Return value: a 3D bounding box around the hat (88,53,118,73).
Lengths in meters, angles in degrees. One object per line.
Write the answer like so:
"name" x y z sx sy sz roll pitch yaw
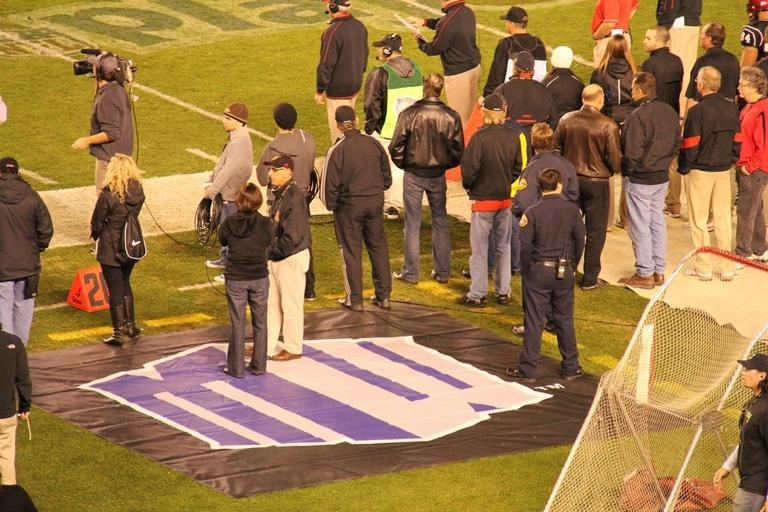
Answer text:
"hat" -3.891 -2.631 16.282 0.476 0.267 0.228 11 20 33

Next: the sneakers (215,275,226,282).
"sneakers" -2.269 0.335 16.277 0.197 0.061 0.220 3 10 13

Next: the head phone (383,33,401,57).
"head phone" 0.111 -3.201 17.927 0.289 0.186 0.337 -8 36 -10

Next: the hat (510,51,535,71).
"hat" 2.014 -2.775 17.004 0.303 0.173 0.318 2 42 -3

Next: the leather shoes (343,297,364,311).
"leather shoes" -0.465 0.658 16.264 0.330 0.200 0.154 15 22 40

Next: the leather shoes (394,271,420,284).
"leather shoes" 0.307 0.337 17.015 0.155 0.129 0.391 -11 22 -34

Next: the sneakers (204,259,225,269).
"sneakers" -2.441 0.138 17.071 0.382 0.109 0.150 4 13 1

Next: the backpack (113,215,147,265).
"backpack" -3.177 -0.189 14.917 0.258 0.604 0.404 5 19 14

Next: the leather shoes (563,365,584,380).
"leather shoes" 2.389 1.475 14.918 0.313 0.164 0.218 1 16 0

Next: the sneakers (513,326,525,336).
"sneakers" 1.790 1.027 15.817 0.148 0.053 0.193 -1 8 -5

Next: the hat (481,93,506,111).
"hat" 1.484 -2.053 15.884 0.300 0.144 0.215 22 42 30

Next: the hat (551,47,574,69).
"hat" 2.618 -2.888 17.387 0.271 0.333 0.501 4 16 10

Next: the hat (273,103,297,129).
"hat" -1.327 -1.855 15.721 0.351 0.331 0.287 1 -23 -10

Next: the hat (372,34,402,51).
"hat" -0.017 -3.213 17.905 0.484 0.175 0.271 7 24 20

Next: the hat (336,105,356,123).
"hat" -0.521 -1.836 15.588 0.246 0.134 0.269 -2 30 -5

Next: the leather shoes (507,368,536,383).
"leather shoes" 1.697 1.512 14.890 0.348 0.134 0.162 23 25 37

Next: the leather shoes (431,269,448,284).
"leather shoes" 0.793 0.329 17.044 0.131 0.110 0.302 -6 21 -17

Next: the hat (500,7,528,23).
"hat" 2.024 -3.672 18.175 0.335 0.234 0.204 6 18 17

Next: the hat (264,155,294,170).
"hat" -1.318 -1.152 14.813 0.314 0.116 0.190 2 6 -13

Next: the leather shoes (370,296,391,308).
"leather shoes" -0.056 0.664 16.300 0.122 0.103 0.298 -13 23 -32
